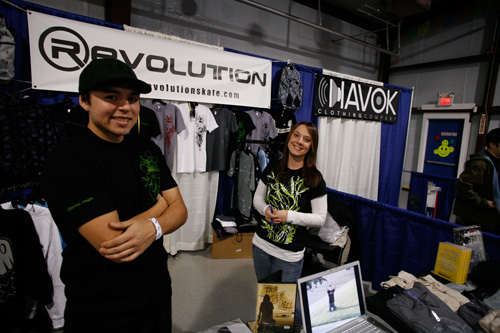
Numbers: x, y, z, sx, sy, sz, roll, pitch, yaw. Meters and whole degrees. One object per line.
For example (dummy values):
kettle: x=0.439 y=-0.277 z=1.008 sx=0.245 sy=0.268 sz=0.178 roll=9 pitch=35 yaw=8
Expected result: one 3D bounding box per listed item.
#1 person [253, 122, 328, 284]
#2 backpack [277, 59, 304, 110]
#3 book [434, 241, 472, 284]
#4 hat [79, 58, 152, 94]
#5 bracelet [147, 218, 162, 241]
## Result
person: x=0.383 y=0.366 z=3.224 sx=0.704 sy=1.591 sz=0.458 roll=1 pitch=10 yaw=-1
backpack: x=0.643 y=-1.265 z=5.123 sx=0.427 sy=0.728 sz=0.224 roll=0 pitch=10 yaw=-7
book: x=1.953 y=0.936 z=3.102 sx=0.217 sy=0.392 sz=0.278 roll=6 pitch=7 yaw=-42
hat: x=-1.024 y=-0.619 z=2.420 sx=0.379 sy=0.206 sz=0.300 roll=-5 pitch=9 yaw=14
bracelet: x=-0.708 y=0.473 z=2.460 sx=0.034 sy=0.143 sz=0.140 roll=-13 pitch=45 yaw=-22
